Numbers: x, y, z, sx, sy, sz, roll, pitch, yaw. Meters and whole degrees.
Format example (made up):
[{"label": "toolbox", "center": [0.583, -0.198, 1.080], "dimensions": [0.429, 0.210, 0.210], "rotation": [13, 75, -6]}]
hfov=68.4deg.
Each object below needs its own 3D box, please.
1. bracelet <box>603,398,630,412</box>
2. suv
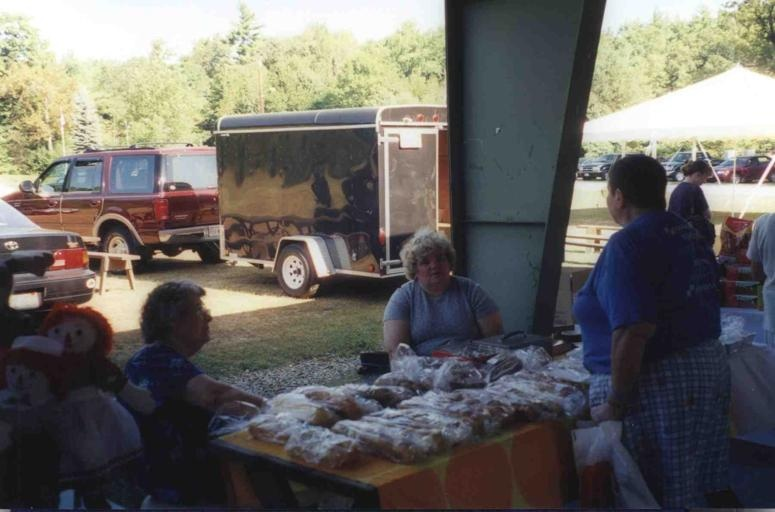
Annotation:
[{"label": "bracelet", "center": [1.266, 0.813, 3.127], "dimensions": [0.071, 0.022, 0.071], "rotation": [-1, 5, -30]}, {"label": "suv", "center": [-4.359, -0.929, 9.582], "dimensions": [2.989, 1.382, 1.743], "rotation": [7, 8, 23]}]
